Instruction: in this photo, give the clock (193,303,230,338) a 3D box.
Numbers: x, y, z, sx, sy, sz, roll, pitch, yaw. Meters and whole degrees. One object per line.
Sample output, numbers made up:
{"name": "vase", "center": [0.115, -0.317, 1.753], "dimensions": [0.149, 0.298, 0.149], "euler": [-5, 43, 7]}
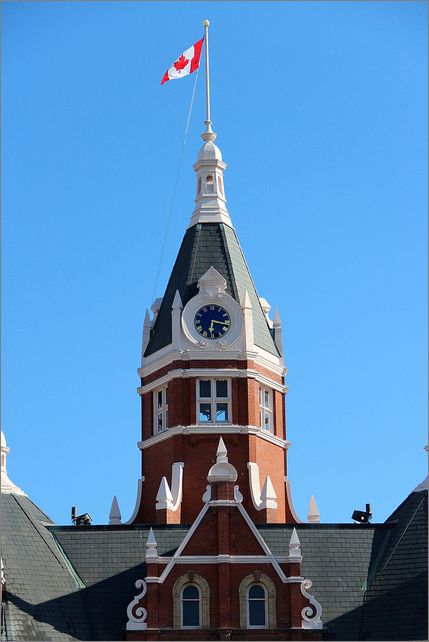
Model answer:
{"name": "clock", "center": [-0.095, 0.027, 62.254], "dimensions": [1.031, 1.337, 0.101], "euler": [-1, -5, 2]}
